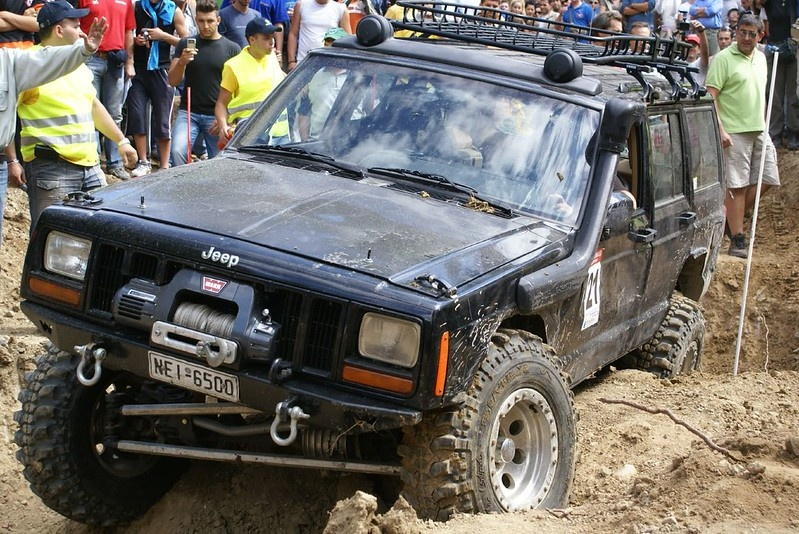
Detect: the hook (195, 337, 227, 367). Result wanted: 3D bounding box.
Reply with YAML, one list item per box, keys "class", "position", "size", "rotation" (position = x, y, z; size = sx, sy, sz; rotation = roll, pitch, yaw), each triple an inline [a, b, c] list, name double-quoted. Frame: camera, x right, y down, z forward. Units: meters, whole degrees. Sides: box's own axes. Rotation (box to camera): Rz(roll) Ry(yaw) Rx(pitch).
- class: "hook"
  position: [-1.159, 0.537, 5.173]
  size: [0.166, 0.182, 0.070]
  rotation: [2, 2, 11]

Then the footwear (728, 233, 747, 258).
- class: "footwear"
  position: [5.030, -0.287, 12.252]
  size: [0.163, 0.364, 0.503]
  rotation: [6, 14, 31]

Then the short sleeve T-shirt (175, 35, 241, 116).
- class: "short sleeve T-shirt"
  position: [-2.554, -2.483, 10.923]
  size: [0.920, 1.132, 0.508]
  rotation: [5, 8, -4]

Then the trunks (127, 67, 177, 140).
- class: "trunks"
  position: [-3.339, -2.230, 11.090]
  size: [0.574, 1.260, 0.398]
  rotation: [6, 38, -12]

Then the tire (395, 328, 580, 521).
- class: "tire"
  position: [0.703, 1.242, 5.779]
  size: [0.465, 1.495, 1.415]
  rotation: [-2, -2, 43]

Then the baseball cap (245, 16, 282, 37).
- class: "baseball cap"
  position: [-1.638, -2.806, 9.824]
  size: [0.458, 0.200, 0.310]
  rotation: [-3, 10, 19]

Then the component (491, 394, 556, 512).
- class: "component"
  position: [0.847, 1.286, 5.678]
  size: [0.686, 0.734, 0.253]
  rotation: [9, -16, -44]

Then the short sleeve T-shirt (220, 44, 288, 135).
- class: "short sleeve T-shirt"
  position: [-1.691, -2.095, 10.131]
  size: [0.878, 1.119, 0.581]
  rotation: [-11, 12, -40]

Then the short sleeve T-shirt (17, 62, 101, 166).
- class: "short sleeve T-shirt"
  position: [-3.283, -1.541, 8.104]
  size: [0.548, 1.012, 1.008]
  rotation: [4, 10, 24]

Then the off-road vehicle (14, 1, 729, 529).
- class: "off-road vehicle"
  position: [0.415, -0.182, 7.318]
  size: [3.269, 3.434, 5.833]
  rotation: [5, 9, 28]

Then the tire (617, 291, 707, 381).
- class: "tire"
  position: [2.765, 0.874, 8.496]
  size: [0.449, 1.100, 1.047]
  rotation: [23, 17, 40]
